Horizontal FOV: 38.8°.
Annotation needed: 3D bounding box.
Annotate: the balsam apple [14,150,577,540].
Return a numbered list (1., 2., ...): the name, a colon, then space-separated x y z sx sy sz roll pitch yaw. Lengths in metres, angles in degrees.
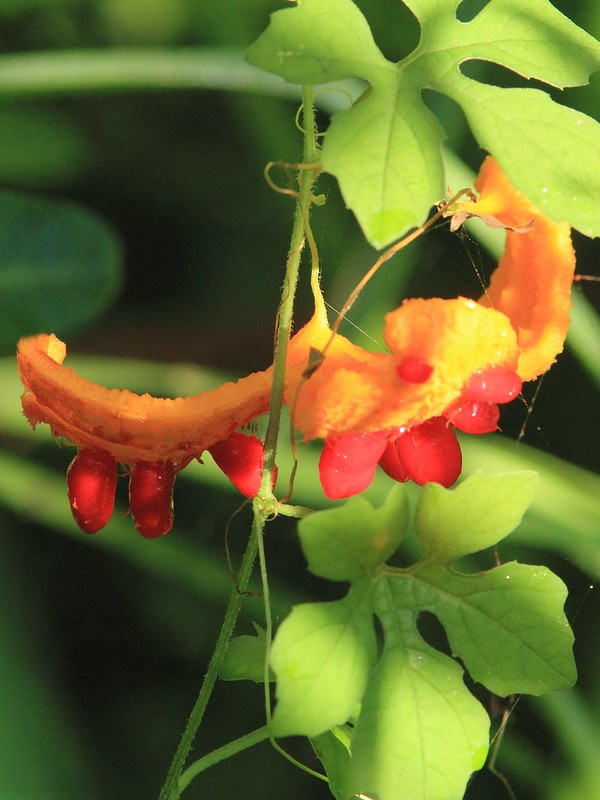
1. balsam apple: 0.002 -0.017 0.519 0.307 0.100 0.247 -24 23 -38
